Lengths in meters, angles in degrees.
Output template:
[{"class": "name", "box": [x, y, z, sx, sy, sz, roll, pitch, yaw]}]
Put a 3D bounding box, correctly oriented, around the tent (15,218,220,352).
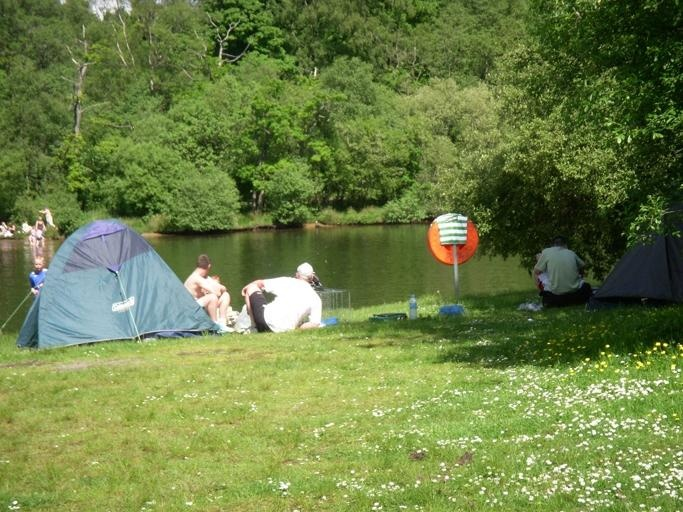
[{"class": "tent", "box": [-6.515, 0.771, 31.649, 4.349, 3.452, 0.993, -2, -2, -17]}]
